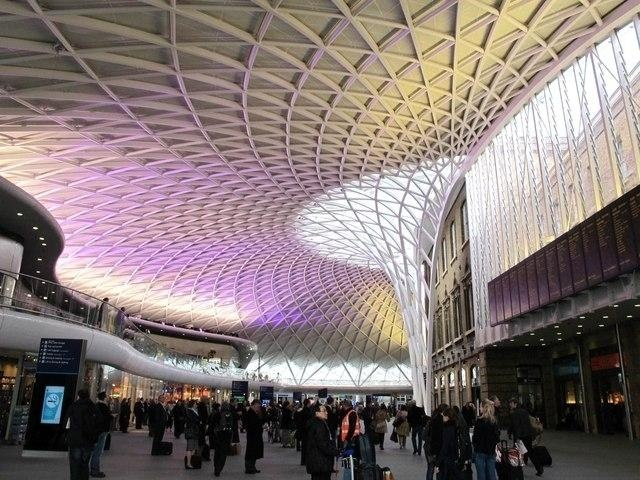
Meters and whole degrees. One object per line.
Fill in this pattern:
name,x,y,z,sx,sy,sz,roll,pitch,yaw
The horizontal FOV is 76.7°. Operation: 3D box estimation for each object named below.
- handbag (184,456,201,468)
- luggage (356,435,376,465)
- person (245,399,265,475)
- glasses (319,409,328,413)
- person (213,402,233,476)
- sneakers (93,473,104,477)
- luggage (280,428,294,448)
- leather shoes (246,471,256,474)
handbag,-4.118,7.097,13.126,0.517,0.336,0.276,3,-23,-6
luggage,0.950,4.169,8.201,0.343,0.511,0.478,-1,-22,3
person,-2.106,6.096,12.819,0.602,2.032,1.426,4,-23,-8
glasses,0.067,3.318,7.965,0.096,0.028,0.090,3,-64,-3
person,-3.030,6.004,12.460,0.503,1.933,0.972,7,-23,-14
sneakers,-5.953,6.242,10.906,0.250,0.090,0.088,-1,-21,0
luggage,-1.663,10.089,20.879,0.631,0.852,0.826,1,-22,-1
leather shoes,-2.072,6.851,12.100,0.243,0.056,0.133,5,-22,-10
